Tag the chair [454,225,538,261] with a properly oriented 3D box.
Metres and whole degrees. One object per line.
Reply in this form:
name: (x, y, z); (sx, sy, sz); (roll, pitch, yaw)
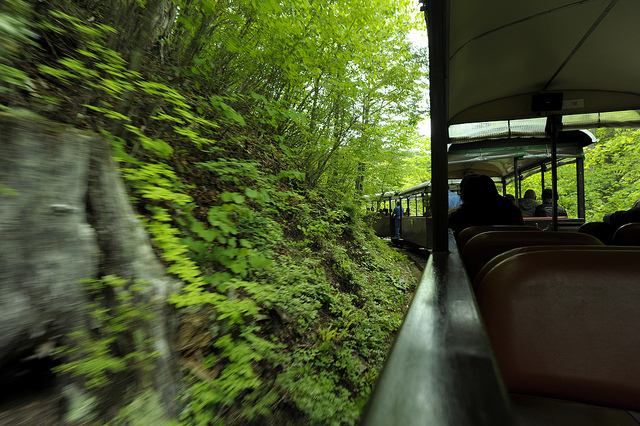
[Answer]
chair: (1.770, 0.175, 4.143); (0.823, 0.494, 0.346); (0, 33, 13)
